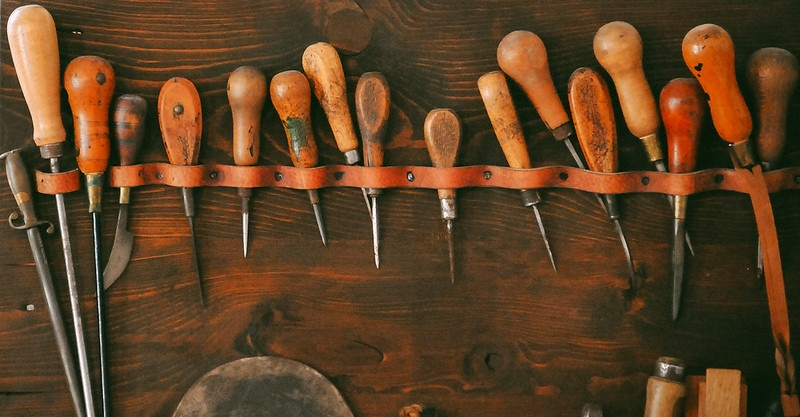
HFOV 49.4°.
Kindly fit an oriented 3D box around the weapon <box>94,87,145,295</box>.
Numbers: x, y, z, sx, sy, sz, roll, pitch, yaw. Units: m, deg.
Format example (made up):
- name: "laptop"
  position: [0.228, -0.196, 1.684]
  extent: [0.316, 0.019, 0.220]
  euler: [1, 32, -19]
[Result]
- name: "weapon"
  position: [-1.168, -0.083, 3.689]
  extent: [0.189, 0.819, 0.141]
  euler: [10, 0, -14]
